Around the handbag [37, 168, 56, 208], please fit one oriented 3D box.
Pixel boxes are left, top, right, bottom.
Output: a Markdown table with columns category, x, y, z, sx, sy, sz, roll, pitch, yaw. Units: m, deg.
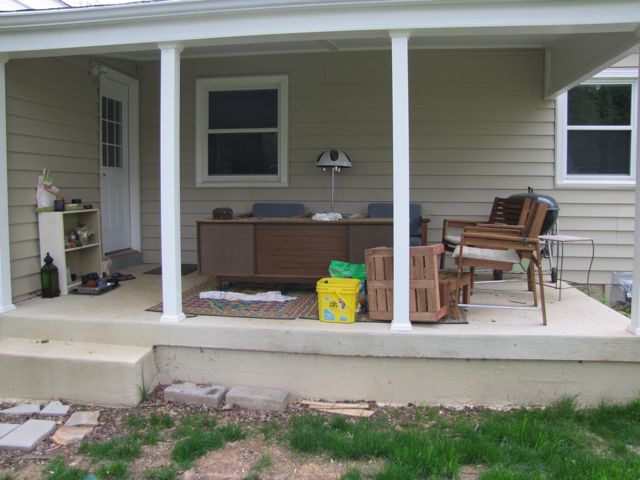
| category | x | y | z | sx | sy | sz | roll | pitch | yaw |
| --- | --- | --- | --- | --- | --- | --- | --- | --- | --- |
| handbag | -3.079 | -0.578 | 6.074 | 0.143 | 0.445 | 0.350 | 0 | 14 | 3 |

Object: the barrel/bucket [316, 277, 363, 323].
| category | x | y | z | sx | sy | sz | roll | pitch | yaw |
| --- | --- | --- | --- | --- | --- | --- | --- | --- | --- |
| barrel/bucket | 0.169 | 0.566 | 5.026 | 0.389 | 0.390 | 0.274 | 1 | 14 | 4 |

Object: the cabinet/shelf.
| category | x | y | z | sx | sy | sz | roll | pitch | yaw |
| --- | --- | --- | --- | --- | --- | --- | --- | --- | --- |
| cabinet/shelf | -2.896 | 0.146 | 6.172 | 0.363 | 1.018 | 0.964 | -1 | 6 | 5 |

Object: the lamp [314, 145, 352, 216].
| category | x | y | z | sx | sy | sz | roll | pitch | yaw |
| --- | --- | --- | --- | --- | --- | --- | --- | --- | --- |
| lamp | 0.179 | -0.799 | 7.365 | 0.501 | 0.863 | 0.577 | 0 | 14 | 3 |

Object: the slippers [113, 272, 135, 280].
| category | x | y | z | sx | sy | sz | roll | pitch | yaw |
| --- | --- | --- | --- | --- | --- | --- | --- | --- | --- |
| slippers | -2.521 | 0.476 | 6.890 | 0.165 | 0.049 | 0.122 | 0 | 1 | 5 |

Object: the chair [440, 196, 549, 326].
| category | x | y | z | sx | sy | sz | roll | pitch | yaw |
| --- | --- | --- | --- | --- | --- | --- | --- | --- | --- |
| chair | 1.625 | 0.181 | 5.738 | 1.253 | 1.412 | 1.211 | 0 | 0 | 8 |

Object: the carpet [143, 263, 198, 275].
| category | x | y | z | sx | sy | sz | roll | pitch | yaw |
| --- | --- | --- | --- | --- | --- | --- | --- | --- | --- |
| carpet | -2.077 | 0.409 | 7.550 | 0.658 | 0.074 | 0.778 | -1 | 13 | -2 |
